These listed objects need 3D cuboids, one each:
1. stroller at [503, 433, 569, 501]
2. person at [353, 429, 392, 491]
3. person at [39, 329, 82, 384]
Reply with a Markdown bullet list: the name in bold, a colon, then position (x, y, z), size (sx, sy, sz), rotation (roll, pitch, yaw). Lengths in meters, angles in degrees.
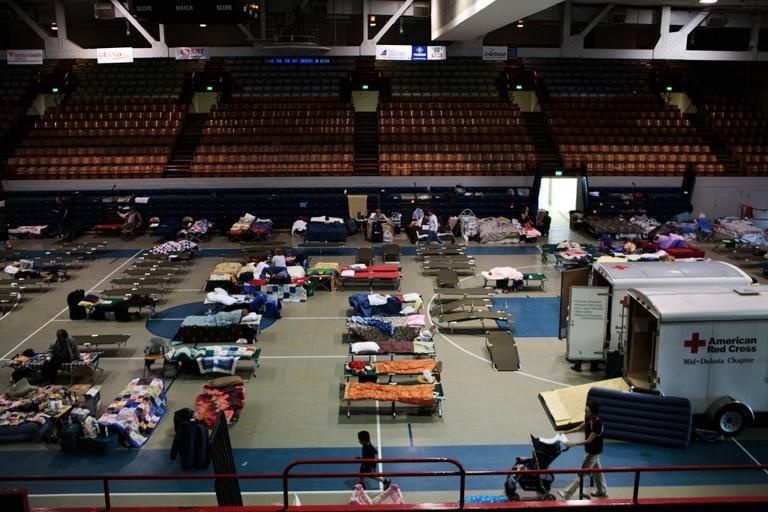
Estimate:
- **stroller**: position (3.064, 4.327, 11.223), size (1.342, 1.303, 0.879), rotation (-2, -14, 13)
- **person**: position (-0.296, 4.136, 11.243), size (0.760, 1.077, 0.923), rotation (-1, -2, 8)
- **person**: position (-8.495, 2.614, 14.557), size (0.815, 1.465, 0.868), rotation (3, -16, -4)
